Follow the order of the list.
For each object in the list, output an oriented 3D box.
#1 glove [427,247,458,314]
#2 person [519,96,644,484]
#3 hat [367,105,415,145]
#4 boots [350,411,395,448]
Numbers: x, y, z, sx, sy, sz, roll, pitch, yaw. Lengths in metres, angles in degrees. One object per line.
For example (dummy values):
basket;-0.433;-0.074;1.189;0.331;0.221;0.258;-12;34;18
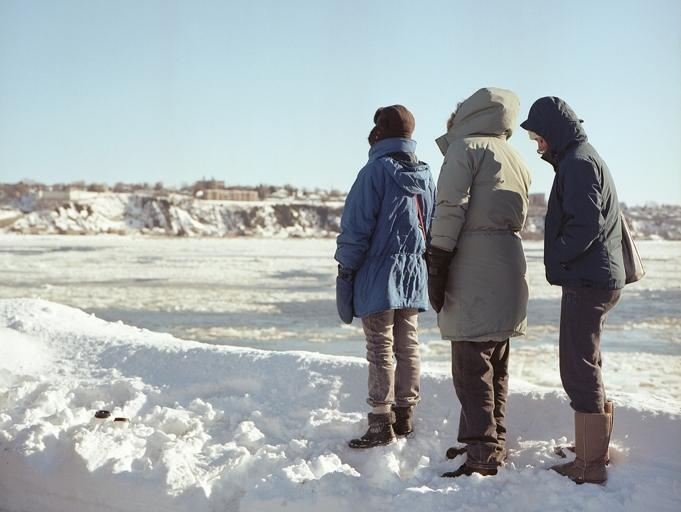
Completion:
glove;0.679;0.150;6.546;0.127;0.367;0.269;9;10;9
person;1.655;0.210;6.428;0.600;2.570;0.824;-5;13;11
hat;0.401;-0.984;7.098;0.324;0.334;0.269;12;10;24
boots;0.229;1.288;6.954;0.370;0.258;0.166;-4;-3;19
